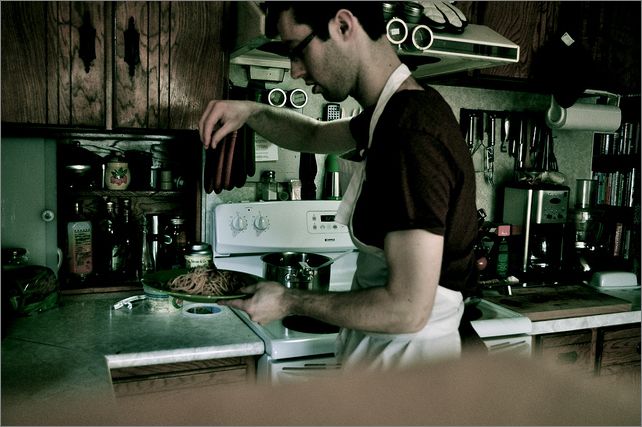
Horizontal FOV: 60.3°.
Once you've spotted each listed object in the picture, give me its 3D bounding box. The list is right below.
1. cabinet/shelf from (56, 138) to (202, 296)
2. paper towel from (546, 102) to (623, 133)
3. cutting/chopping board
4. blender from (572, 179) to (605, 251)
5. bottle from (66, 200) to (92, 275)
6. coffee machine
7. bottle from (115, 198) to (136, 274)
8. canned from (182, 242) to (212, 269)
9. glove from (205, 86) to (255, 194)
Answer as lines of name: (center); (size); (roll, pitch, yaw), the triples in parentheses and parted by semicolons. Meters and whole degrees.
cabinet/shelf: (-0.905, -0.026, 2.634); (0.693, 0.697, 0.463); (-1, 10, -23)
paper towel: (1.473, -0.541, 3.105); (0.417, 0.168, 0.175); (-2, 5, -14)
cutting/chopping board: (1.100, 0.374, 2.625); (0.575, 0.085, 0.468); (0, 8, -18)
blender: (1.469, 0.009, 3.081); (0.242, 0.379, 0.248); (6, 11, 22)
bottle: (-1.112, 0.131, 2.537); (0.102, 0.275, 0.077); (-6, 19, -45)
coffee machine: (1.107, 0.098, 2.931); (0.349, 0.505, 0.298); (2, 6, 31)
bottle: (-0.949, 0.115, 2.637); (0.111, 0.320, 0.104); (4, 11, -1)
canned: (-0.523, 0.176, 2.413); (0.127, 0.121, 0.119); (1, 1, 5)
glove: (-0.356, -0.297, 2.149); (0.272, 0.482, 0.452); (2, 3, -7)
